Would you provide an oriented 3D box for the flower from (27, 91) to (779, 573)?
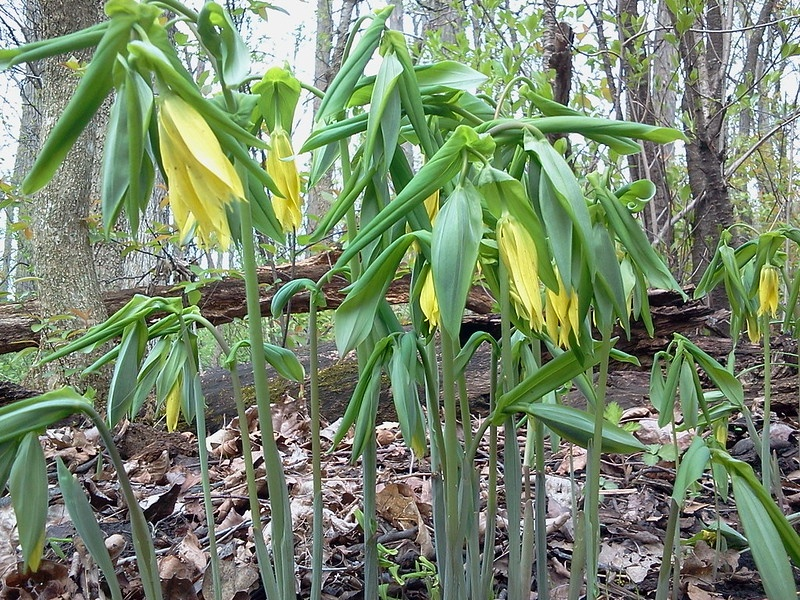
[{"bbox_3d":[-0.054,0.006,2.735,1.930,1.529,1.959,5,-12,-32],"label":"flower"}]
